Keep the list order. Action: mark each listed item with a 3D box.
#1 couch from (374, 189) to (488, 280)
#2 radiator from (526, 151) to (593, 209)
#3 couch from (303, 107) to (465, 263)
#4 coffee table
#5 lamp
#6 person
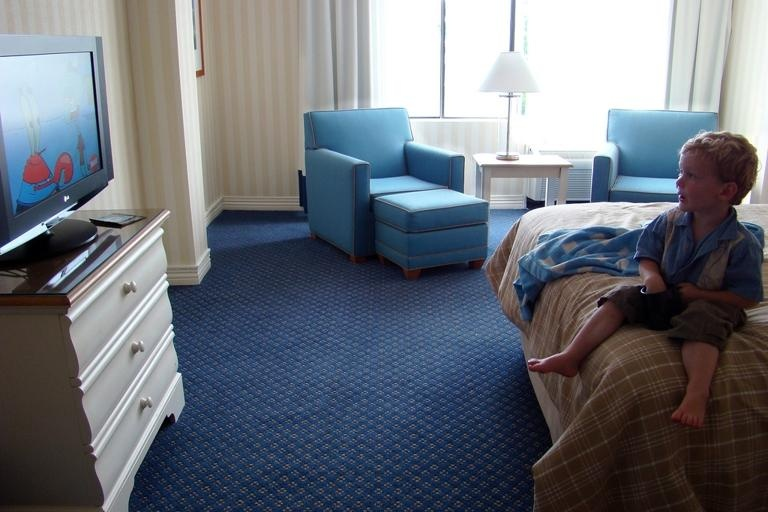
[{"bbox_3d":[0.341,-0.118,4.434,0.847,0.528,0.633,-9,3,-36],"label":"couch"},{"bbox_3d":[1.928,-0.851,5.706,0.622,0.515,0.340,4,23,11],"label":"radiator"},{"bbox_3d":[-0.021,-0.680,4.817,1.339,1.116,1.354,-2,19,-6],"label":"couch"},{"bbox_3d":[1.214,-0.839,4.882,0.646,0.588,0.638,-1,21,-4],"label":"coffee table"},{"bbox_3d":[1.170,-1.405,5.039,0.513,0.913,0.774,4,21,14],"label":"lamp"},{"bbox_3d":[1.101,-0.062,2.297,1.005,1.236,0.822,-11,19,-21],"label":"person"}]
